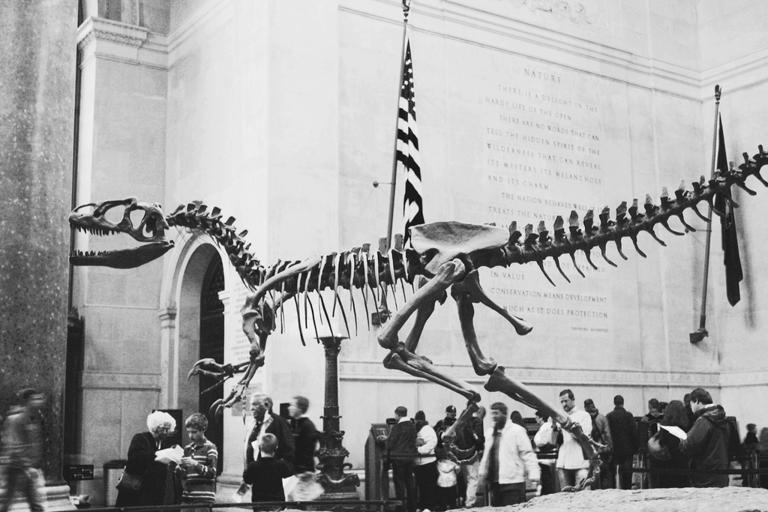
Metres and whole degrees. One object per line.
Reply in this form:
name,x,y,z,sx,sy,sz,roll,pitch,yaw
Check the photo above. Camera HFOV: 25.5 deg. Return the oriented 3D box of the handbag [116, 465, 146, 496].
handbag,-3.930,3.428,26.053,0.419,0.475,0.136,-5,-13,23
